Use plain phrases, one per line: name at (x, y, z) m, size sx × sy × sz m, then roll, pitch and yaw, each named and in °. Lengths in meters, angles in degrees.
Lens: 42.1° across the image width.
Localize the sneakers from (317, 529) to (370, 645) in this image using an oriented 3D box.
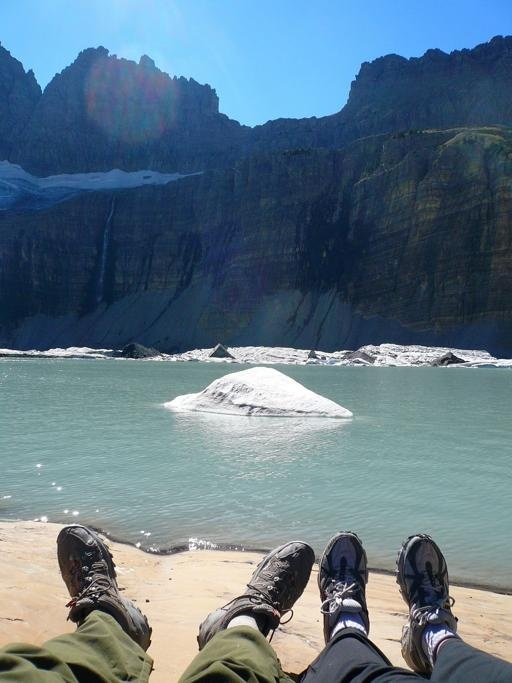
sneakers at (0.546, 1.470, 4.052) m, size 0.203 × 0.576 × 0.249 m, roll -4°, pitch -39°, yaw 8°
